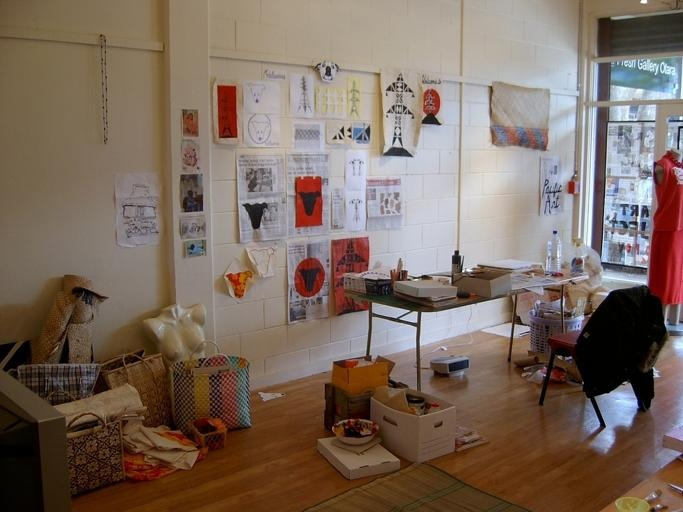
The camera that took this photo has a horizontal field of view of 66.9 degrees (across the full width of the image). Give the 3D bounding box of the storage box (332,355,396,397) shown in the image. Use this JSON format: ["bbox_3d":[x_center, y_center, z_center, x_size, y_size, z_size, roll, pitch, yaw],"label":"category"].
[{"bbox_3d":[0.163,0.842,3.721,0.332,0.174,0.229,-2,4,-42],"label":"storage box"}]

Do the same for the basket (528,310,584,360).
[{"bbox_3d":[1.994,0.686,4.929,0.490,0.399,0.467,-1,4,-4],"label":"basket"}]

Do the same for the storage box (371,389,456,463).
[{"bbox_3d":[0.473,1.098,3.461,0.387,0.350,0.522,-3,5,-32],"label":"storage box"}]

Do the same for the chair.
[{"bbox_3d":[1.960,0.703,3.903,0.728,0.995,0.731,-8,10,-39],"label":"chair"}]

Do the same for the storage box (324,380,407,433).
[{"bbox_3d":[0.116,1.027,3.758,0.512,0.382,0.336,-5,9,-42],"label":"storage box"}]
